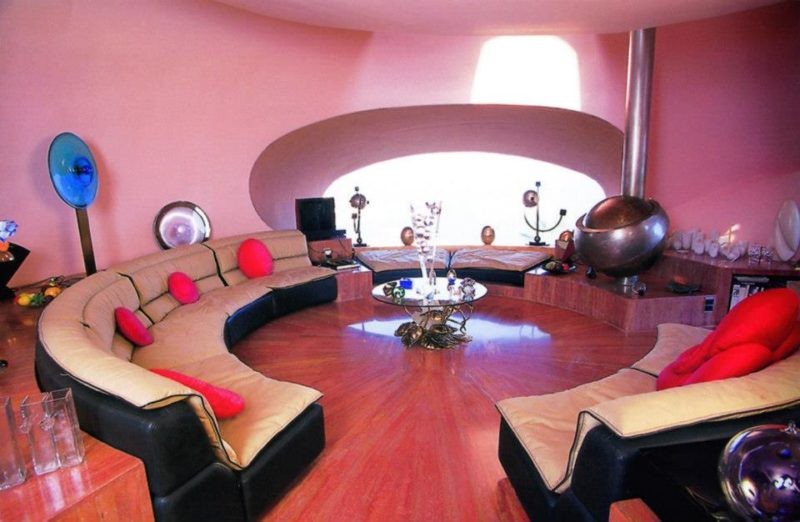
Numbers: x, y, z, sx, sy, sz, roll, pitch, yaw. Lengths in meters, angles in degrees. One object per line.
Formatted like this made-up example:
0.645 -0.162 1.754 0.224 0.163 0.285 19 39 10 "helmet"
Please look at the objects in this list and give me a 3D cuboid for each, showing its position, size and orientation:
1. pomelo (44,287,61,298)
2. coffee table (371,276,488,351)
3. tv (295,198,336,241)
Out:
-3.154 0.286 4.419 0.073 0.041 0.074 6 16 16 "pomelo"
0.326 0.522 5.086 0.891 0.453 0.881 -14 19 -43 "coffee table"
-1.169 -0.573 6.616 0.568 0.560 0.293 0 12 -7 "tv"
